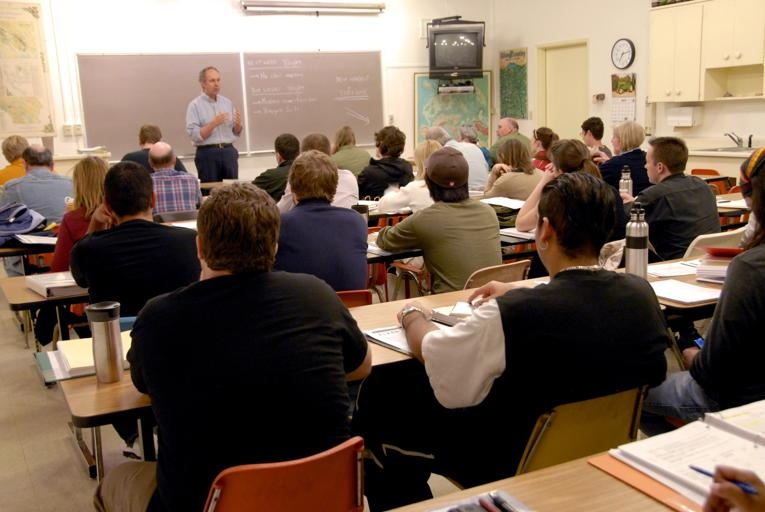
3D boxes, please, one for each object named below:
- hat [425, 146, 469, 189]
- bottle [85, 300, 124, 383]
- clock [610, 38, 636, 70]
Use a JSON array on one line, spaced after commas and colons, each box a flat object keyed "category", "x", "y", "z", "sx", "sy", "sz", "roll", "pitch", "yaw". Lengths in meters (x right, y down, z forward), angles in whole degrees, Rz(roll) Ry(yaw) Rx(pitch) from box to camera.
[{"category": "hat", "x": 0.385, "y": -0.523, "z": 3.136, "sx": 0.174, "sy": 0.142, "sz": 0.269, "roll": -2, "pitch": 43, "yaw": -4}, {"category": "bottle", "x": -0.963, "y": 0.309, "z": 1.845, "sx": 0.118, "sy": 0.269, "sz": 0.220, "roll": -4, "pitch": 9, "yaw": -21}, {"category": "clock", "x": 3.644, "y": -3.068, "z": 8.087, "sx": 0.092, "sy": 0.460, "sz": 0.424, "roll": -10, "pitch": 15, "yaw": -27}]
